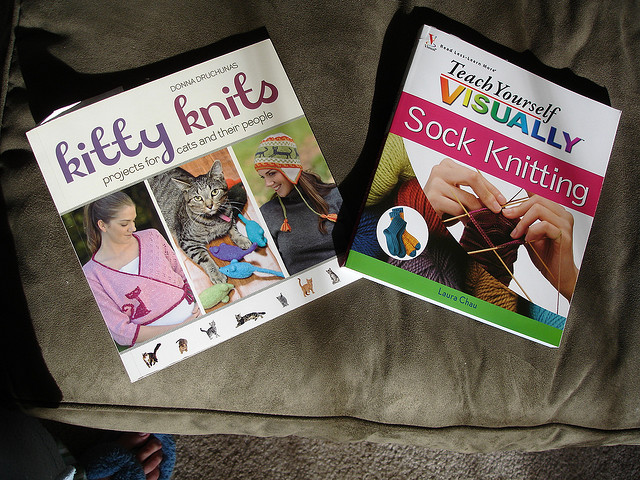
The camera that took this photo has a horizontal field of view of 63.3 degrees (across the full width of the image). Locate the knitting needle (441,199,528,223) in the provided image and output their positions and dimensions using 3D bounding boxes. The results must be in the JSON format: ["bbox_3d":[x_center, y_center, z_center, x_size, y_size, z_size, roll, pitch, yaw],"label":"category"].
[{"bbox_3d":[0.223,-0.040,0.724,0.101,0.003,0.007,-15,16,2],"label":"knitting needle"}]

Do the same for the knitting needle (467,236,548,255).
[{"bbox_3d":[0.255,0.008,0.723,0.101,0.004,0.004,-12,67,-6],"label":"knitting needle"}]
